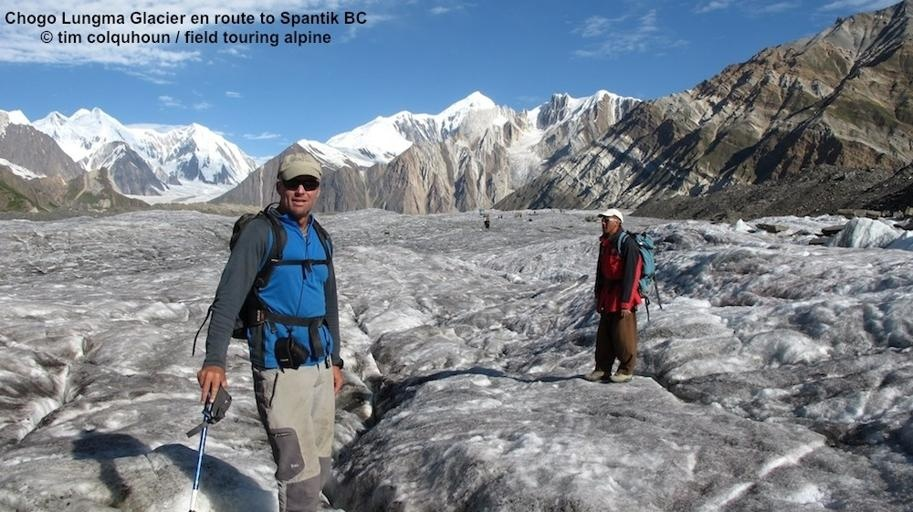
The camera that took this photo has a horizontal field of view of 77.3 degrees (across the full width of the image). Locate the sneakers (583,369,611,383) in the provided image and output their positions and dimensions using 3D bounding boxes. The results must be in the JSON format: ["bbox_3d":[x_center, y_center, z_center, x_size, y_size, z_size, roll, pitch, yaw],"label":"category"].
[{"bbox_3d":[3.047,2.568,12.248,0.612,0.219,0.206,1,-7,3],"label":"sneakers"}]

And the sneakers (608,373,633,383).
[{"bbox_3d":[3.467,2.564,11.986,0.488,0.188,0.163,5,-14,-11],"label":"sneakers"}]
